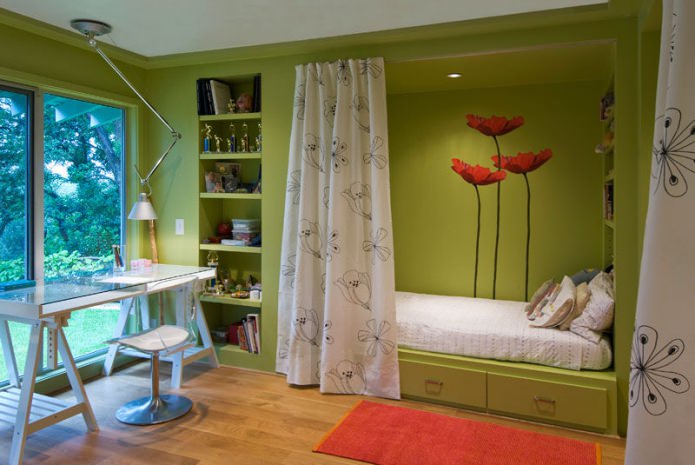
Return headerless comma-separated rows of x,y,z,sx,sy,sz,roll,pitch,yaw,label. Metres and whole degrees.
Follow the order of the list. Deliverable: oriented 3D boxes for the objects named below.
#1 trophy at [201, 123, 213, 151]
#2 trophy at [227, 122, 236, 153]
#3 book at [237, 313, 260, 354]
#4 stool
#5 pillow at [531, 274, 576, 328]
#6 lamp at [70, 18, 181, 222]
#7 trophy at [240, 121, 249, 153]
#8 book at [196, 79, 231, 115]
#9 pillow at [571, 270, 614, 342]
-1.365,-0.911,4.860,0.090,0.263,0.167,-3,14,-11,trophy
-1.130,-0.922,4.888,0.083,0.263,0.384,-3,14,-13,trophy
-0.913,0.925,4.687,0.243,0.339,0.101,-3,-1,27,book
-1.540,1.109,4.009,0.620,0.605,0.570,2,3,22,stool
1.667,0.556,4.049,0.156,0.232,0.473,15,16,3,pillow
-1.935,-0.910,4.547,0.688,1.752,0.913,2,14,8,lamp
-0.997,-0.915,4.851,0.082,0.261,0.342,-3,14,-11,trophy
-1.284,-1.279,4.878,0.266,0.381,0.112,1,7,-1,book
1.872,0.578,3.836,0.210,0.550,0.243,37,-30,-17,pillow
